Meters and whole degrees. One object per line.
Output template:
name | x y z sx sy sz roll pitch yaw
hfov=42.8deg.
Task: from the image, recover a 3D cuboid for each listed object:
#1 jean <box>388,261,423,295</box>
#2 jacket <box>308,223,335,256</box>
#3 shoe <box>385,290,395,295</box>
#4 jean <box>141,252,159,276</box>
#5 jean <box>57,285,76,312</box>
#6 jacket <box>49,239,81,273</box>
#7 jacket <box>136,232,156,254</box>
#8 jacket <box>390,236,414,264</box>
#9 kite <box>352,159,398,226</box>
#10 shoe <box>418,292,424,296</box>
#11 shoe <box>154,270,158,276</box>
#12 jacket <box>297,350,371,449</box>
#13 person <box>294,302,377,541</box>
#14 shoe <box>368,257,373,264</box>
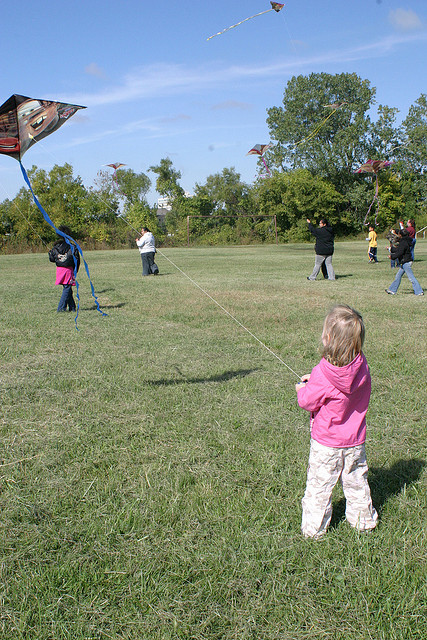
jean | 4.415 -0.964 12.294 0.836 0.744 0.699 -8 11 -41
jacket | 2.967 -2.165 14.906 0.747 0.838 0.707 -1 8 0
shoe | 4.008 -0.618 12.347 0.066 0.081 0.196 -6 11 -27
jean | -2.049 -1.770 17.267 0.450 0.735 0.790 -1 8 -5
jean | -2.681 -0.401 9.888 0.325 0.506 0.658 -3 9 -15
jacket | -2.584 -1.155 9.438 0.451 0.470 0.285 -4 9 -24
jacket | -2.086 -2.349 16.603 0.692 0.657 0.505 -9 18 -38
jacket | 4.215 -1.544 12.073 0.340 0.606 0.929 2 9 17
kite | 10.377 -8.269 35.399 2.742 3.992 2.721 4 0 -11
shoe | 4.642 -0.577 12.095 0.094 0.040 0.069 -25 4 -15
shoe | -1.842 -1.512 17.610 0.129 0.234 0.193 0 -3 13
jacket | 0.580 0.367 2.592 0.356 0.454 0.223 0 8 3
person | 0.604 0.489 2.610 0.404 1.125 0.222 -1 8 -1
shoe | 6.284 -2.325 21.739 0.108 0.151 0.340 -8 26 36
